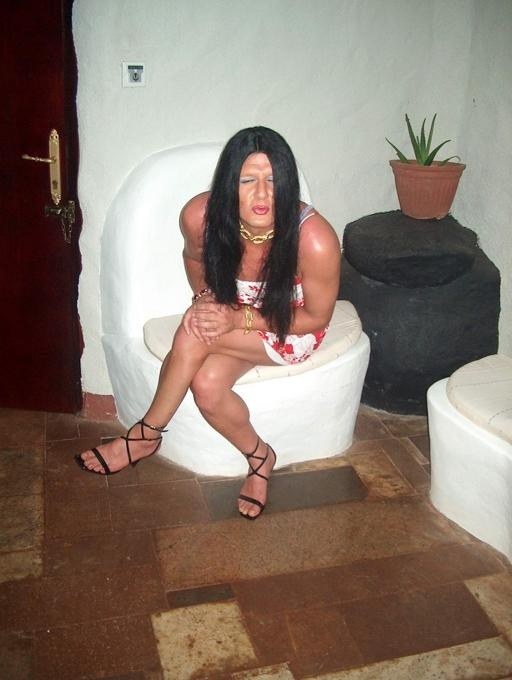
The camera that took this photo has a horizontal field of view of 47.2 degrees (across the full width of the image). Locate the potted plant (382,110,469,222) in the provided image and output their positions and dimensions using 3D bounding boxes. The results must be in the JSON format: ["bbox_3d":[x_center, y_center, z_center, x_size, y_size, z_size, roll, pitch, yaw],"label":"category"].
[{"bbox_3d":[0.681,-0.682,2.346,0.320,0.366,0.270,-2,16,-19],"label":"potted plant"}]

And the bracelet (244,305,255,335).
[{"bbox_3d":[-0.020,-0.060,1.687,0.019,0.064,0.049,3,5,-1],"label":"bracelet"}]

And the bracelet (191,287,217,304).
[{"bbox_3d":[-0.163,-0.141,1.789,0.054,0.028,0.065,-4,18,-2],"label":"bracelet"}]

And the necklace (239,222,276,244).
[{"bbox_3d":[0.005,-0.284,1.586,0.091,0.064,0.099,3,18,2],"label":"necklace"}]

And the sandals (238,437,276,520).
[{"bbox_3d":[0.022,0.428,1.833,0.091,0.237,0.088,4,-26,13],"label":"sandals"}]

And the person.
[{"bbox_3d":[-0.101,-0.043,1.732,0.657,1.107,0.326,5,19,7],"label":"person"}]
